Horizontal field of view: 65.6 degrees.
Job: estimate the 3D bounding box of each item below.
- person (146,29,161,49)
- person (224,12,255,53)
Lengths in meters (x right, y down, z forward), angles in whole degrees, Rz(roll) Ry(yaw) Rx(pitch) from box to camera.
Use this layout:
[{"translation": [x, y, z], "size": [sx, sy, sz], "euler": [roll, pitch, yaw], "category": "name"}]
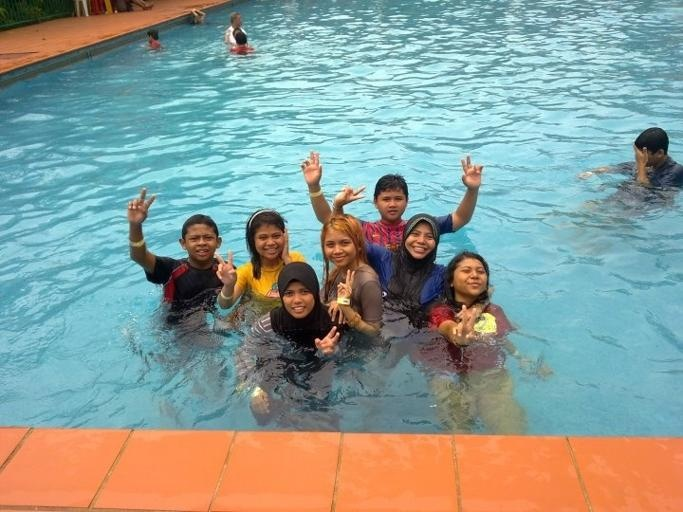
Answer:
[{"translation": [-4.529, -5.182, 12.688], "size": [0.284, 0.381, 0.701], "euler": [-17, 32, -13], "category": "person"}, {"translation": [-2.426, -5.131, 12.235], "size": [0.584, 0.787, 1.417], "euler": [-13, 31, -7], "category": "person"}]
